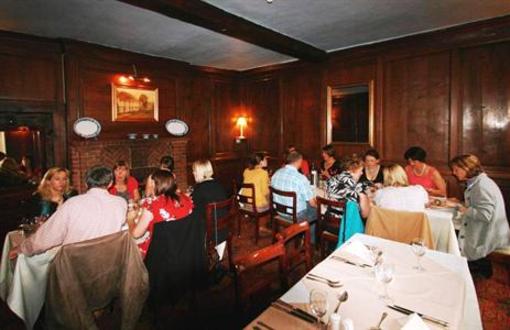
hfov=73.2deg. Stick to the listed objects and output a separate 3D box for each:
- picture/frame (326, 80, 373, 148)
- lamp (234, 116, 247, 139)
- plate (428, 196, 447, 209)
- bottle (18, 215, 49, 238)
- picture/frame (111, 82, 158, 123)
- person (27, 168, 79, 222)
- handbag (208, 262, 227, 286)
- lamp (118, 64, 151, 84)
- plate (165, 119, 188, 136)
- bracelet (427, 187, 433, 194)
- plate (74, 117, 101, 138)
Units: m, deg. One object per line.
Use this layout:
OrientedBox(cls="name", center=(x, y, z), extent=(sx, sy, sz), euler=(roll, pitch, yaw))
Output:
OrientedBox(cls="picture/frame", center=(1.936, -0.978, 7.179), extent=(0.933, 1.217, 0.043), euler=(4, 32, 27))
OrientedBox(cls="lamp", center=(-0.363, -0.988, 8.850), extent=(0.294, 0.583, 0.309), euler=(0, 5, 5))
OrientedBox(cls="plate", center=(2.603, 0.535, 4.932), extent=(0.184, 0.051, 0.193), euler=(6, 35, 45))
OrientedBox(cls="bottle", center=(-2.849, 0.767, 4.371), extent=(0.418, 0.285, 0.230), euler=(2, -2, -43))
OrientedBox(cls="picture/frame", center=(-2.536, -1.318, 7.103), extent=(0.937, 0.647, 0.040), euler=(-4, 8, -44))
OrientedBox(cls="person", center=(-2.814, 0.461, 4.850), extent=(0.612, 0.890, 0.515), euler=(-2, 10, -38))
OrientedBox(cls="handbag", center=(-0.545, 1.559, 4.928), extent=(0.325, 0.241, 0.245), euler=(12, -16, 4))
OrientedBox(cls="lamp", center=(-2.463, -1.867, 7.075), extent=(0.152, 0.422, 0.712), euler=(5, 7, 42))
OrientedBox(cls="plate", center=(-1.738, -0.859, 7.750), extent=(0.592, 0.384, 0.228), euler=(-4, 7, -40))
OrientedBox(cls="bracelet", center=(2.764, 0.392, 5.424), extent=(0.084, 0.072, 0.092), euler=(0, -36, 34))
OrientedBox(cls="plate", center=(-3.171, -0.738, 6.461), extent=(0.404, 0.408, 0.116), euler=(20, 21, -28))
